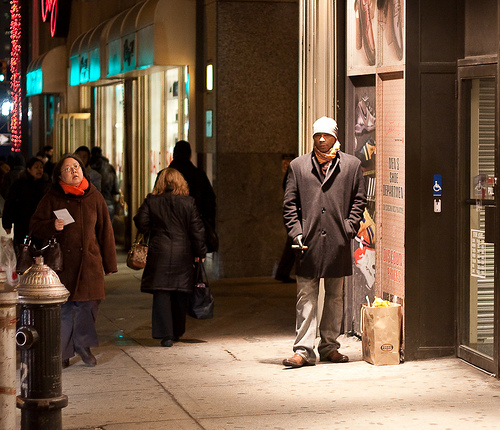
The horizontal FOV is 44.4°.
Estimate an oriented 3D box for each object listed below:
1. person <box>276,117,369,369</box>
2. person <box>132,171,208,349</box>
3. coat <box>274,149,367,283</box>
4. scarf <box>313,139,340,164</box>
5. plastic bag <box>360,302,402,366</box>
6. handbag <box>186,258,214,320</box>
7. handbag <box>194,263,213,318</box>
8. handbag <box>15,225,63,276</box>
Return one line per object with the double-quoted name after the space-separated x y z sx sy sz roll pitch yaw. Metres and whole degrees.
0.672 0.253 5.559 0.784 2.209 0.695 -1 1 3 "person"
-0.833 0.447 6.457 0.737 1.827 0.245 -1 1 -6 "person"
0.686 0.218 5.502 0.605 1.832 0.476 -1 21 4 "coat"
0.690 -0.527 5.365 0.140 0.210 0.103 -1 -31 5 "scarf"
1.164 1.009 5.576 0.367 0.709 0.515 1 -3 -7 "plastic bag"
-0.533 0.815 6.740 0.207 0.710 0.304 3 -22 -10 "handbag"
-0.527 0.869 6.877 0.240 0.815 0.613 -2 2 -6 "handbag"
-1.720 0.311 4.976 0.362 0.441 0.170 -2 -34 -15 "handbag"
